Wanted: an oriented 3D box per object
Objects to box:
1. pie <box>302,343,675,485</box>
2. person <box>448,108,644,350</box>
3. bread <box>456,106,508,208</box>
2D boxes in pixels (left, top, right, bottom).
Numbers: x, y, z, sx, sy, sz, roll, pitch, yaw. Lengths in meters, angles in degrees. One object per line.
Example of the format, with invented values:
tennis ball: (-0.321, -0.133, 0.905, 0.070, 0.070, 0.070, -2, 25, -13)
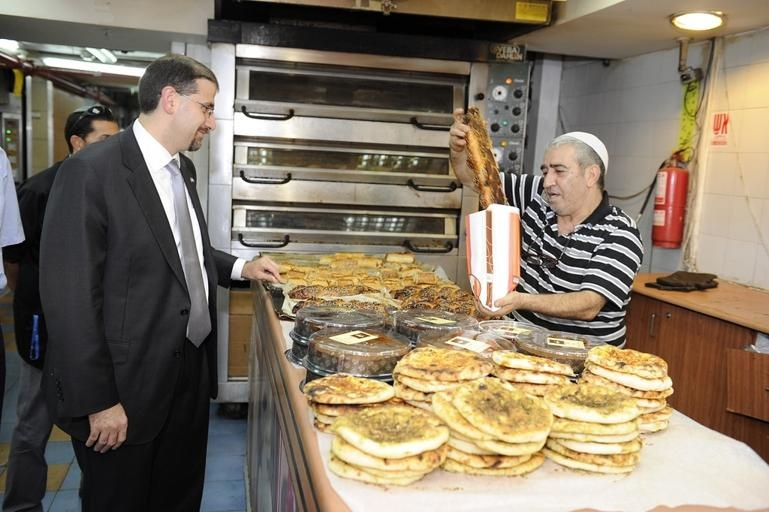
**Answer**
pie: (0.326, 0.491, 1.672, 0.887, 0.177, 0.516, 0, 13, 2)
person: (1.006, -0.088, 2.788, 0.731, 1.145, 1.091, 5, 10, 12)
bread: (0.428, -0.426, 2.281, 0.140, 0.098, 0.555, 11, 47, -28)
